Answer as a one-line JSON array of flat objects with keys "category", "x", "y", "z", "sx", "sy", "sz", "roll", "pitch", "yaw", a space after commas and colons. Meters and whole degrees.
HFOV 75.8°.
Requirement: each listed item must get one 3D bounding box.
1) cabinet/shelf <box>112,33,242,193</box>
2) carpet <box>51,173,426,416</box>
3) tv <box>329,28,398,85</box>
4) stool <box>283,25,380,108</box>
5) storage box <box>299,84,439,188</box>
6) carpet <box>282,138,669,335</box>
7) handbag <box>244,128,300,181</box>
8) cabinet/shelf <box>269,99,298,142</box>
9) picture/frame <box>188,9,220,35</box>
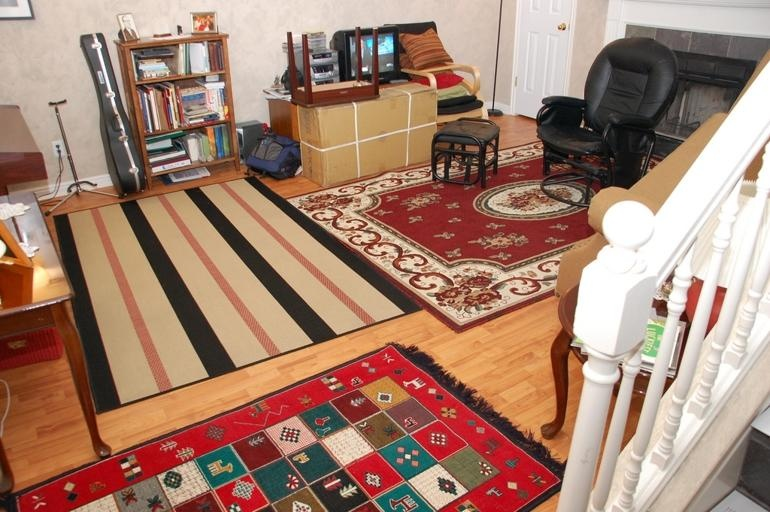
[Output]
[{"category": "cabinet/shelf", "x": -2.106, "y": -1.403, "z": 4.873, "sx": 1.302, "sy": 1.577, "sz": 0.631, "roll": -21, "pitch": 45, "yaw": -25}, {"category": "carpet", "x": -1.149, "y": 0.253, "z": 3.487, "sx": 1.595, "sy": 0.010, "sz": 2.094, "roll": -14, "pitch": 34, "yaw": -25}, {"category": "tv", "x": -0.259, "y": -2.155, "z": 5.332, "sx": 0.741, "sy": 0.563, "sz": 0.383, "roll": -19, "pitch": 45, "yaw": -24}, {"category": "stool", "x": -0.554, "y": -1.918, "z": 5.085, "sx": 1.020, "sy": 0.734, "sz": 0.529, "roll": -13, "pitch": 33, "yaw": -21}, {"category": "storage box", "x": -0.218, "y": -1.203, "z": 4.957, "sx": 1.111, "sy": 0.586, "sz": 0.348, "roll": -21, "pitch": 44, "yaw": -26}, {"category": "carpet", "x": 0.464, "y": -0.187, "z": 4.030, "sx": 1.814, "sy": 0.012, "sz": 1.555, "roll": -17, "pitch": 37, "yaw": -28}, {"category": "handbag", "x": -1.146, "y": -1.043, "z": 5.136, "sx": 0.516, "sy": 0.199, "sz": 0.492, "roll": 11, "pitch": 46, "yaw": 10}, {"category": "cabinet/shelf", "x": -1.086, "y": -1.451, "z": 5.293, "sx": 0.152, "sy": 0.364, "sz": 0.413, "roll": -26, "pitch": 42, "yaw": -30}, {"category": "picture/frame", "x": -1.762, "y": -2.256, "z": 4.798, "sx": 0.239, "sy": 0.184, "sz": 0.168, "roll": -10, "pitch": 32, "yaw": -15}]
